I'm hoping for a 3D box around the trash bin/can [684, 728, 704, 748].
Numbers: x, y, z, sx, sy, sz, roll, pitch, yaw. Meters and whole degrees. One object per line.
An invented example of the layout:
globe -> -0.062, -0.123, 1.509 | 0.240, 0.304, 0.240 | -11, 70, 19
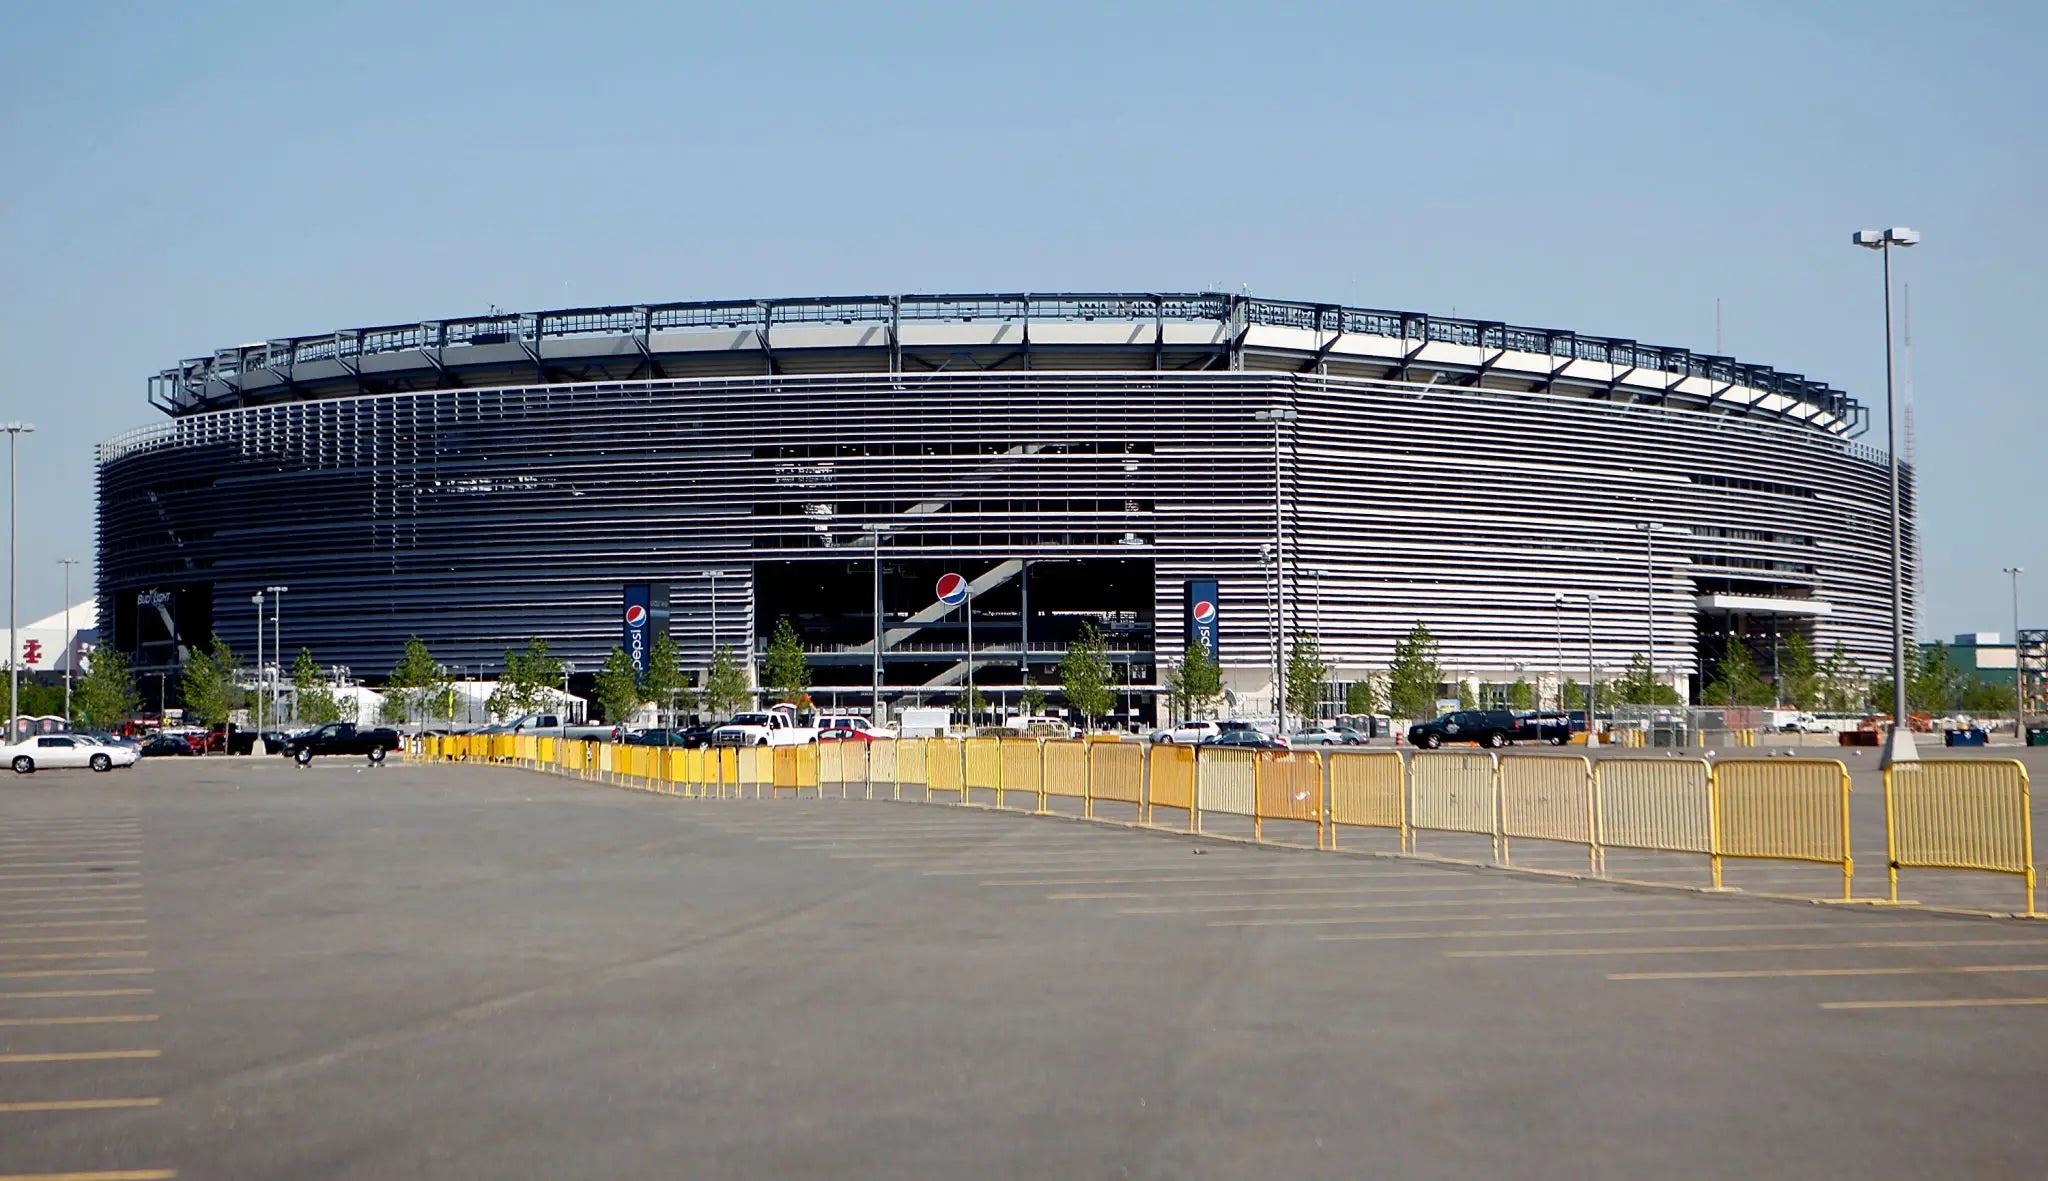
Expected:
trash bin/can -> -14.285, 6.304, 101.847 | 1.387, 0.674, 1.746 | 2, -6, -11
